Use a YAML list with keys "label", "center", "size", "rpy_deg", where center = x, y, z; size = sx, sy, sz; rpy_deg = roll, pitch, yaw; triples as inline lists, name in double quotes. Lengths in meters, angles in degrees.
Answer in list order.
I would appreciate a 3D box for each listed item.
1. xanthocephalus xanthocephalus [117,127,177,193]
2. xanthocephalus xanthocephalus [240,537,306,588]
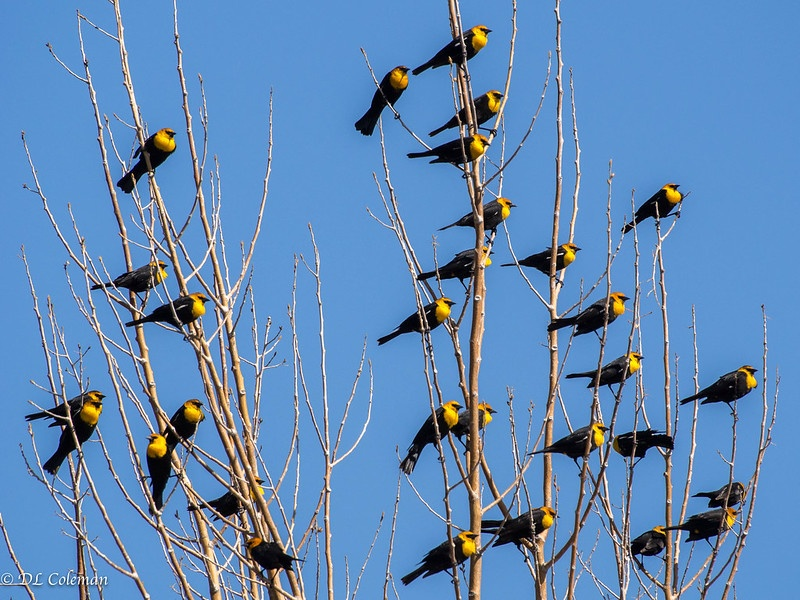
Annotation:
- label: "xanthocephalus xanthocephalus"
  center: [-2.429, -1.396, 14.744]
  size: [0.702, 0.457, 0.269]
  rpy_deg: [-19, -28, 34]
- label: "xanthocephalus xanthocephalus"
  center: [-1.125, 2.222, 13.275]
  size: [0.451, 0.324, 0.474]
  rpy_deg: [-1, -14, -3]
